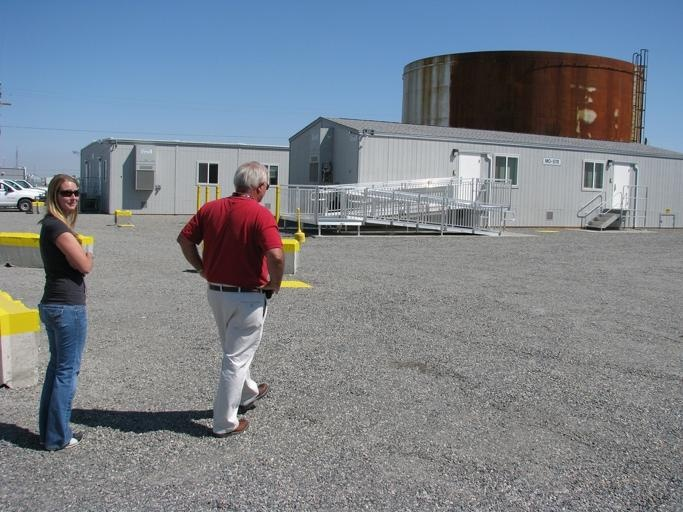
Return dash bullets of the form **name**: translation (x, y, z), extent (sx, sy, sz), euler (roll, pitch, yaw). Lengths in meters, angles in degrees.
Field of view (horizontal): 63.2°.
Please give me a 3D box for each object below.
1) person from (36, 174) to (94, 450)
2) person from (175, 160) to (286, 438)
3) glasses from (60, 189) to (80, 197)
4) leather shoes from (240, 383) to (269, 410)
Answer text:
- **person**: translation (-1.981, 0.406, 3.963), extent (0.379, 1.963, 0.483), euler (-5, 9, -40)
- **person**: translation (-0.851, 0.317, 4.338), extent (0.774, 2.077, 0.493), euler (0, 7, -5)
- **glasses**: translation (-1.931, -0.446, 3.960), extent (0.100, 0.051, 0.165), euler (4, 9, 16)
- **leather shoes**: translation (-0.745, 1.250, 4.794), extent (0.096, 0.131, 0.304), euler (10, 36, 29)
